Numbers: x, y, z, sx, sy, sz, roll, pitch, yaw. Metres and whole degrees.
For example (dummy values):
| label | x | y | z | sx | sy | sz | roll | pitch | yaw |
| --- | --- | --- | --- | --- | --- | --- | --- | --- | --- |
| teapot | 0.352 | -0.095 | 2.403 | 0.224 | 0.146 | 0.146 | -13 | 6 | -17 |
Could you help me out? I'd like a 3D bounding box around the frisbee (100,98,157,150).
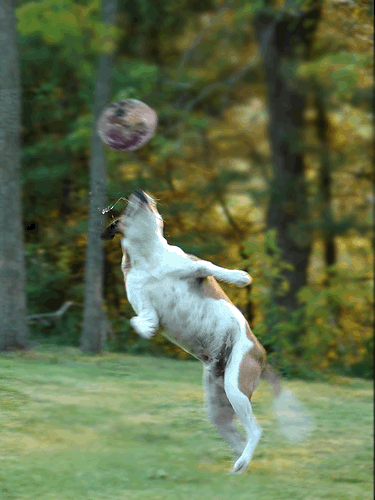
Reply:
| label | x | y | z | sx | sy | sz | roll | pitch | yaw |
| --- | --- | --- | --- | --- | --- | --- | --- | --- | --- |
| frisbee | -0.442 | -1.038 | 7.414 | 0.466 | 0.315 | 0.093 | -18 | 26 | 46 |
